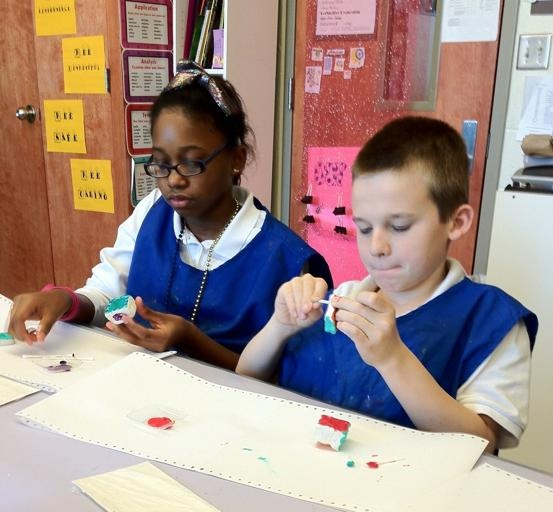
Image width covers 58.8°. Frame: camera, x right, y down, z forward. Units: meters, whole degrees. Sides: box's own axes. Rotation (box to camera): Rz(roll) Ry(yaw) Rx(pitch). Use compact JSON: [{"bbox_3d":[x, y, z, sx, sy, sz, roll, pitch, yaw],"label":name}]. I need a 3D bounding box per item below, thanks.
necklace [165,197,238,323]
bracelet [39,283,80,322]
[{"bbox_3d":[-0.192,0.030,1.308,0.116,0.358,0.015,1,-17,41],"label":"necklace"},{"bbox_3d":[-0.527,0.118,1.206,0.082,0.086,0.189,-6,14,-25],"label":"bracelet"}]
